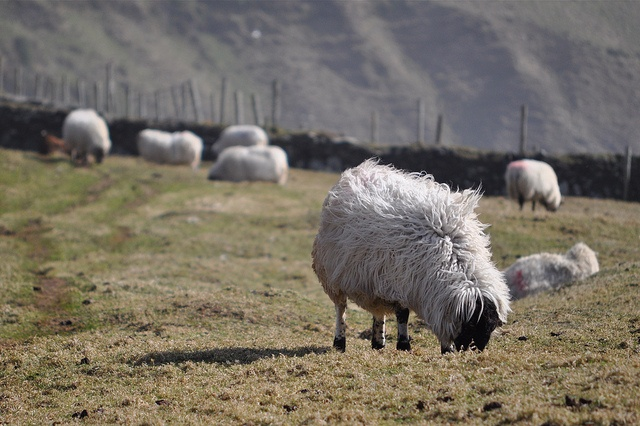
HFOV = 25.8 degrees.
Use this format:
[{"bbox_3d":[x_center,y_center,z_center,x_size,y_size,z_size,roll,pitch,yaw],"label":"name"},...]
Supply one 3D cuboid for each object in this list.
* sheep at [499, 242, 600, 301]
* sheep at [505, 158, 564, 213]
[{"bbox_3d":[7.530,1.858,45.521,2.834,1.897,0.959,5,4,5],"label":"sheep"},{"bbox_3d":[7.418,-0.939,48.202,1.867,1.968,1.309,-15,-22,43],"label":"sheep"}]
